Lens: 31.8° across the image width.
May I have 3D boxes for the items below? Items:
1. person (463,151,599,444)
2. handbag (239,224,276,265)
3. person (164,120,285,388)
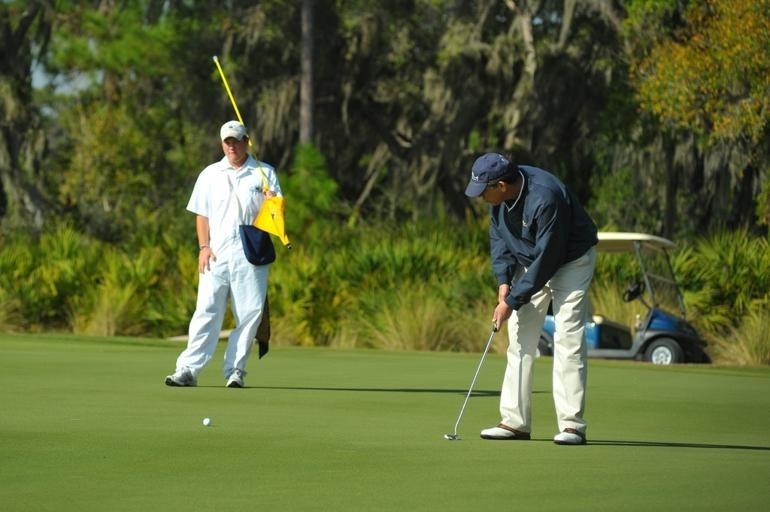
[{"bbox_3d":[1.581,0.405,13.816,1.369,2.984,0.878,0,0,-11],"label":"person"},{"bbox_3d":[-1.493,-0.152,15.520,0.315,0.415,0.130,-9,-7,-33],"label":"handbag"},{"bbox_3d":[-1.838,-0.015,15.562,1.192,3.053,0.813,-1,8,-12],"label":"person"}]
